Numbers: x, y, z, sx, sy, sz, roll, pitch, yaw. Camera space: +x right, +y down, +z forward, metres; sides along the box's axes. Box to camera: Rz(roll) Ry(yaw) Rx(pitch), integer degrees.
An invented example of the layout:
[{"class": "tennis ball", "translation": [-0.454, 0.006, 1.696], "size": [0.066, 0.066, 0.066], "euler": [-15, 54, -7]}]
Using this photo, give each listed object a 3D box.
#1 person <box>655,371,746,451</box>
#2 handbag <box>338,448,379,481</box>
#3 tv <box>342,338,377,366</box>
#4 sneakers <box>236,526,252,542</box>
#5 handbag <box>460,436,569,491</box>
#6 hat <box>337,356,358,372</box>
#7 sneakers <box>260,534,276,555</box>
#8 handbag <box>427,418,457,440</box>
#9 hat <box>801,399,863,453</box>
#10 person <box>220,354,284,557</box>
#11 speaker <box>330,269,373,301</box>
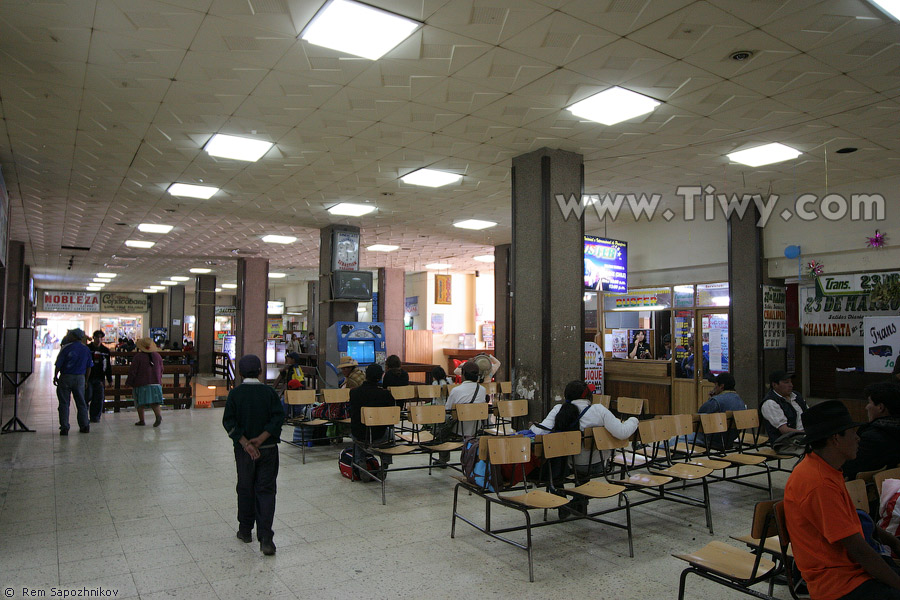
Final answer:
[{"class": "person", "translation": [3.816, 1.619, 9.302], "size": [1.090, 1.383, 1.055], "euler": [7, -4, -24]}, {"class": "handbag", "translation": [-1.330, 2.378, 9.137], "size": [0.428, 0.193, 0.591], "euler": [0, -6, 26]}, {"class": "tv", "translation": [-2.007, 1.120, 13.582], "size": [1.031, 0.656, 0.541], "euler": [5, -12, -35]}, {"class": "sneakers", "translation": [-2.322, 2.646, 7.142], "size": [0.097, 0.174, 0.260], "euler": [2, 1, -25]}, {"class": "handbag", "translation": [0.756, 1.914, 7.268], "size": [0.767, 0.421, 0.955], "euler": [3, -9, -25]}, {"class": "hat", "translation": [-1.759, 1.042, 10.802], "size": [0.298, 0.178, 0.343], "euler": [-6, -20, 5]}, {"class": "sneakers", "translation": [-1.994, 2.639, 6.904], "size": [0.184, 0.241, 0.167], "euler": [-1, -2, -16]}, {"class": "handbag", "translation": [-0.090, 1.863, 9.136], "size": [0.365, 0.295, 0.268], "euler": [2, -6, -4]}, {"class": "hat", "translation": [2.988, 0.968, 5.113], "size": [0.457, 0.173, 0.397], "euler": [-21, -5, 8]}, {"class": "person", "translation": [-2.177, 1.694, 7.108], "size": [0.625, 2.153, 0.478], "euler": [-2, -2, -1]}, {"class": "speaker", "translation": [-2.177, -0.217, 14.159], "size": [1.127, 0.757, 0.660], "euler": [3, -7, -37]}]
